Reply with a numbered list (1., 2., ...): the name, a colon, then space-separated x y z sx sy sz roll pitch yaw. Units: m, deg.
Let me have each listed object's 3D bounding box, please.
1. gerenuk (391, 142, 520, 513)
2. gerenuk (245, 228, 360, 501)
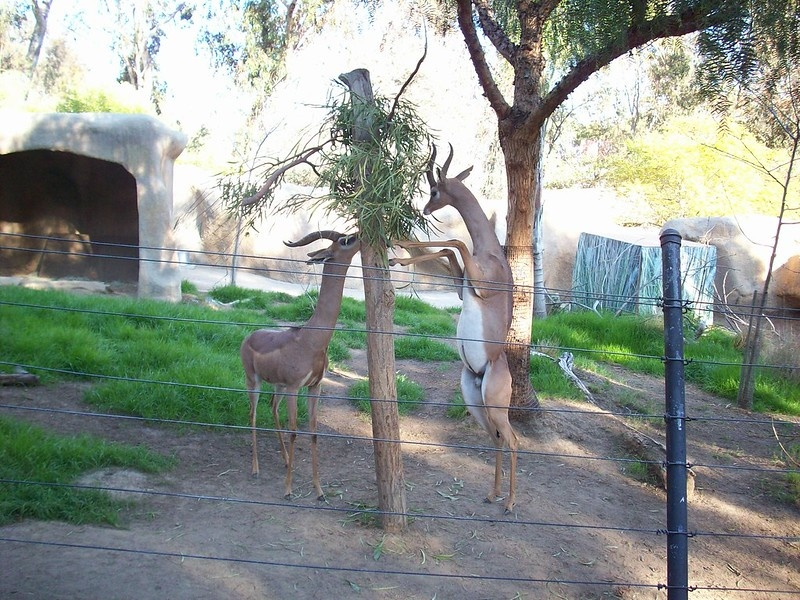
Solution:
1. gerenuk: 0.660 0.311 7.056 0.721 3.144 1.512 6 4 38
2. gerenuk: -0.892 0.576 7.137 0.781 2.349 1.429 1 4 -34
